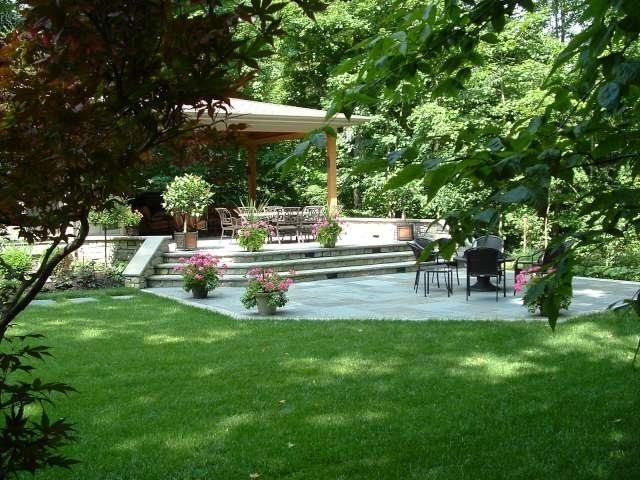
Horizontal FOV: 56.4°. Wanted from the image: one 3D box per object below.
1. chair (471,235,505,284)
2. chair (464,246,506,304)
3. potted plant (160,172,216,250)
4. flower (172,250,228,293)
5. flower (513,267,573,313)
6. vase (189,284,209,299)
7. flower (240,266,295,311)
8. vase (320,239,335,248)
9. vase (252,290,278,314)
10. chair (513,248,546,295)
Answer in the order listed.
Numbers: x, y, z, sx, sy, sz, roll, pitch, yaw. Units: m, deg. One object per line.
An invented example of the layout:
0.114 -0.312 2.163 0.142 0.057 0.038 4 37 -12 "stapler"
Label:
2.870 0.499 10.504 0.684 0.814 0.687 -3 12 13 "chair"
2.625 0.496 9.580 0.673 0.790 0.717 1 5 30 "chair"
-2.930 -0.624 13.235 0.947 1.644 0.908 -2 6 -22 "potted plant"
-1.951 0.521 9.928 0.962 0.535 0.770 1 -3 -13 "flower"
0.993 0.222 2.554 0.227 0.164 0.208 -4 -4 -24 "flower"
-1.956 0.829 9.734 0.278 0.257 0.275 -1 6 -9 "vase"
-0.592 0.781 8.658 0.757 0.535 0.888 13 -16 -42 "flower"
0.197 0.054 13.498 0.405 0.214 0.364 -1 5 -10 "vase"
-0.736 0.901 8.405 0.358 0.211 0.316 0 -4 -7 "vase"
3.462 0.384 9.847 0.418 0.485 0.362 5 9 15 "chair"
